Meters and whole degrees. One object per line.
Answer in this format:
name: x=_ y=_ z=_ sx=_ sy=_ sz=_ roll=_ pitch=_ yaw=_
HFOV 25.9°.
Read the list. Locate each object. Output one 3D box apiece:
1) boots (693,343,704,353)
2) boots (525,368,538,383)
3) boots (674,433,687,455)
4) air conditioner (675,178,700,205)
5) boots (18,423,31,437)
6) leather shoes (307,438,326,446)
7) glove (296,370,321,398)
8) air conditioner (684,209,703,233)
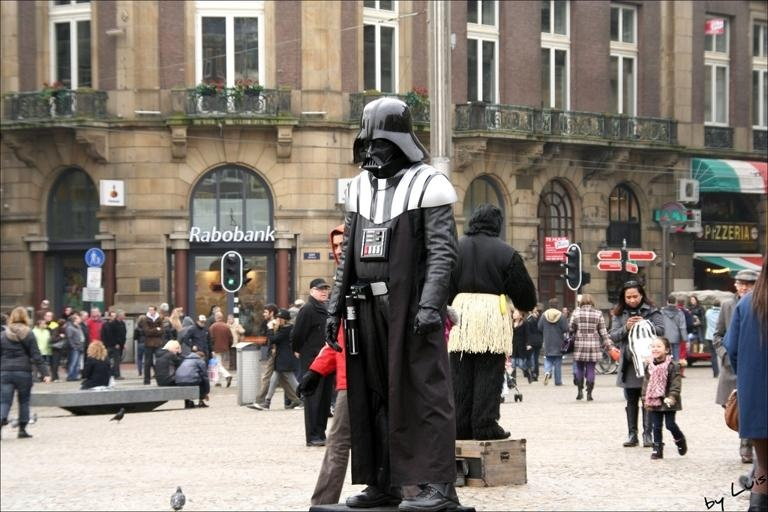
boots: x=10.181 y=3.053 z=54.645 sx=0.342 sy=0.541 sz=0.413 roll=2 pitch=-1 yaw=15
boots: x=4.486 y=3.765 z=51.410 sx=0.241 sy=0.651 sz=0.296 roll=-3 pitch=13 yaw=10
boots: x=6.959 y=4.552 z=39.698 sx=0.223 sy=0.564 sz=0.254 roll=-3 pitch=9 yaw=32
air conditioner: x=11.279 y=-2.343 z=62.054 sx=0.986 sy=0.950 sz=0.685 roll=-2 pitch=-6 yaw=27
boots: x=-9.003 y=4.512 z=42.206 sx=0.200 sy=0.306 sz=0.468 roll=1 pitch=2 yaw=29
leather shoes: x=-1.638 y=4.592 z=40.703 sx=0.477 sy=0.192 sz=0.182 roll=-3 pitch=-5 yaw=4
glove: x=-1.601 y=2.784 z=36.112 sx=0.540 sy=0.562 sz=0.518 roll=-2 pitch=-2 yaw=-2
air conditioner: x=11.256 y=-1.298 z=61.599 sx=0.662 sy=0.979 sz=2.941 roll=-3 pitch=-3 yaw=10
